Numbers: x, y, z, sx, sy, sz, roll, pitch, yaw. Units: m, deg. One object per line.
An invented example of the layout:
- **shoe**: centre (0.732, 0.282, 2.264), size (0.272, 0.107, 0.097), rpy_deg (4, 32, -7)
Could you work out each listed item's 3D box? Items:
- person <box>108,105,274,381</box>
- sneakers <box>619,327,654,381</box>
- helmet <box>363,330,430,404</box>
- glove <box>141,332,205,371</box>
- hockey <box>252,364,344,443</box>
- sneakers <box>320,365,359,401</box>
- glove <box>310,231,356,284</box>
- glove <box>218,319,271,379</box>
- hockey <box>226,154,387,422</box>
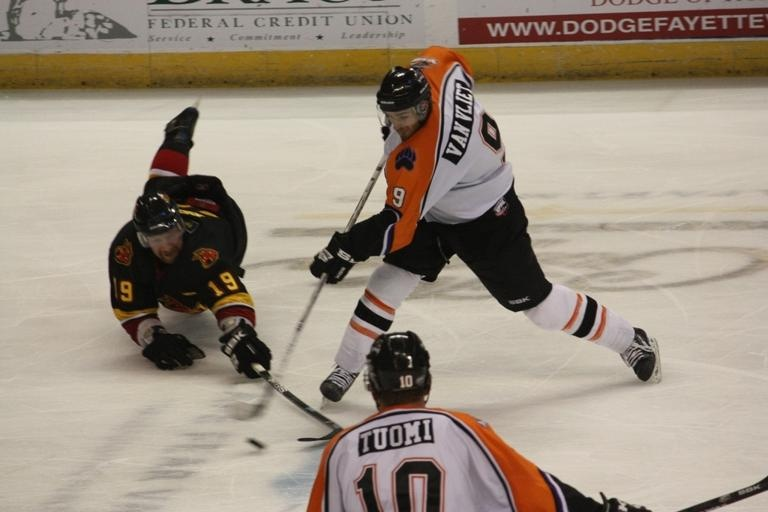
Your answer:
- **person**: centre (-1.197, -0.094, 6.849), size (0.736, 0.730, 1.814), rpy_deg (-2, 36, -6)
- **sneakers**: centre (1.541, 0.584, 6.392), size (0.200, 0.126, 0.359), rpy_deg (15, 25, -12)
- **helmet**: centre (0.069, 0.578, 5.502), size (0.369, 0.362, 0.404), rpy_deg (-3, 2, -11)
- **glove**: centre (-1.317, 0.572, 6.483), size (0.283, 0.079, 0.375), rpy_deg (-32, 44, -34)
- **hockey**: centre (-0.561, 0.839, 6.116), size (0.206, 0.784, 0.086), rpy_deg (-43, 32, -2)
- **sneakers**: centre (-0.253, 0.749, 6.315), size (0.111, 0.126, 0.327), rpy_deg (43, 12, -1)
- **glove**: centre (-0.299, 0.040, 6.237), size (0.345, 0.142, 0.229), rpy_deg (-32, 33, 15)
- **glove**: centre (-0.813, 0.563, 6.424), size (0.328, 0.327, 0.226), rpy_deg (10, 26, 13)
- **hockey**: centre (-0.496, 0.259, 6.786), size (0.318, 0.245, 2.058), rpy_deg (0, 52, 57)
